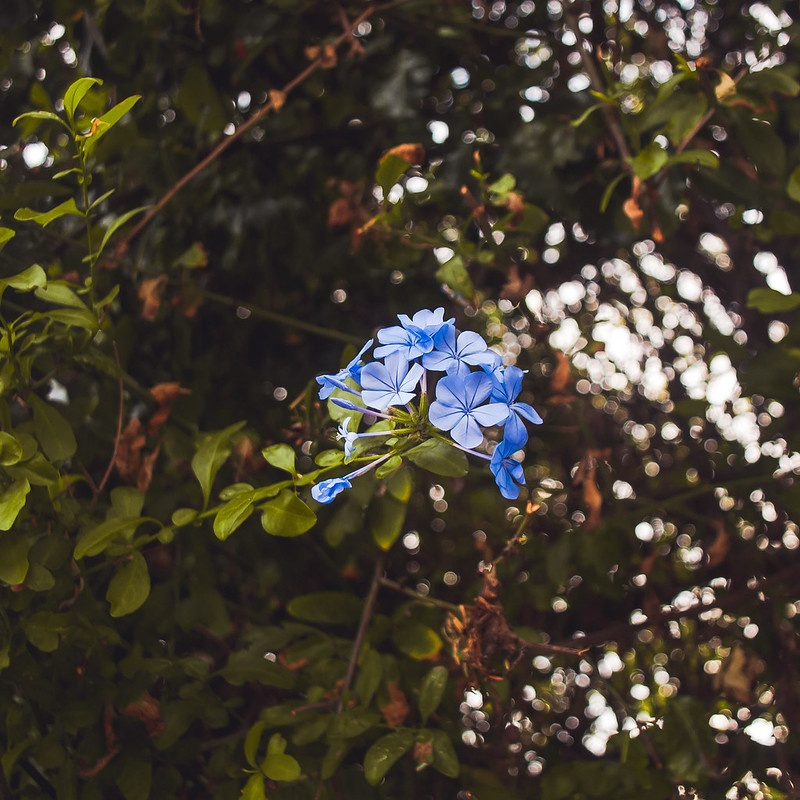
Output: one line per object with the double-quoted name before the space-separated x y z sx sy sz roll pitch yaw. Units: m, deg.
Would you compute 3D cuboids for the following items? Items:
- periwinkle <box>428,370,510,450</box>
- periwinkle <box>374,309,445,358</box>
"periwinkle" 0.122 0.014 1.760 0.164 0.157 0.042 -4 -10 0
"periwinkle" 0.022 -0.120 1.822 0.121 0.049 0.137 6 -10 -1
